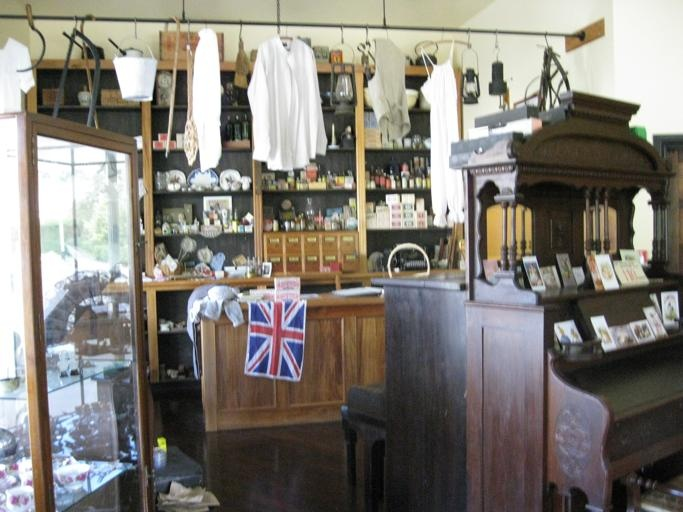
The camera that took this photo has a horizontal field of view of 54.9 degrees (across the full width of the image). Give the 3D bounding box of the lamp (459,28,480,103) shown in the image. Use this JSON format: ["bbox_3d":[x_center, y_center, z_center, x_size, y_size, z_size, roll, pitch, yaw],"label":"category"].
[{"bbox_3d":[1.227,-1.800,6.279,0.180,0.646,0.145,5,35,21],"label":"lamp"}]

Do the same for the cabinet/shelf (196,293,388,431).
[{"bbox_3d":[-0.423,0.964,5.502,1.625,1.199,0.967,-1,2,-12],"label":"cabinet/shelf"}]

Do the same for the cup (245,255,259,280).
[{"bbox_3d":[-0.917,0.127,6.924,0.161,0.321,0.185,1,-2,1],"label":"cup"}]

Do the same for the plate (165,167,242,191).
[{"bbox_3d":[-1.471,-0.811,7.025,0.954,0.264,0.313,2,8,-11],"label":"plate"}]

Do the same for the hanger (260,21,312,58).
[{"bbox_3d":[-0.462,-1.703,5.279,0.344,0.279,0.502,6,9,18],"label":"hanger"}]

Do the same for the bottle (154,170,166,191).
[{"bbox_3d":[-1.886,-0.773,6.870,0.101,0.182,0.072,0,7,-25],"label":"bottle"}]

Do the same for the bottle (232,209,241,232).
[{"bbox_3d":[-1.146,-0.385,7.097,0.081,0.215,0.241,2,8,-9],"label":"bottle"}]

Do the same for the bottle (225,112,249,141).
[{"bbox_3d":[-1.110,-1.362,6.963,0.280,0.458,0.122,0,-5,4],"label":"bottle"}]
